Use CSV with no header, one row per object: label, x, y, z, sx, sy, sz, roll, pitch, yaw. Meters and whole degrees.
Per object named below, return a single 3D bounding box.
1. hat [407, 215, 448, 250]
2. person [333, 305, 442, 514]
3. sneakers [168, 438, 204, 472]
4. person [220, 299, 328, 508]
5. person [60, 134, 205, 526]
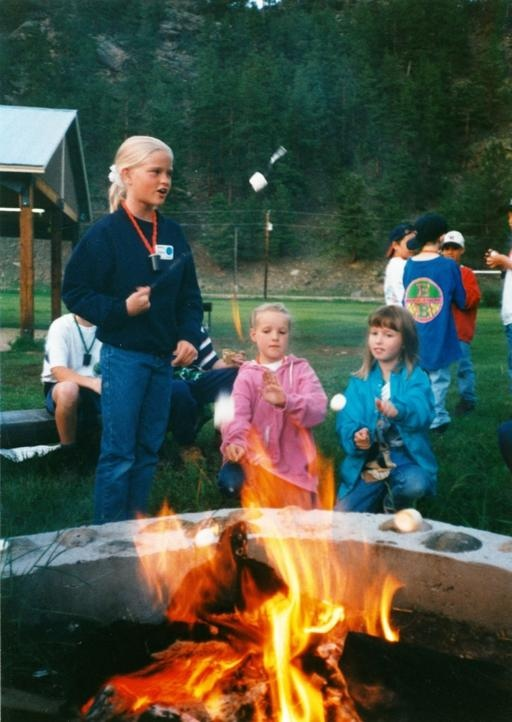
hat,1.027,-0.771,4.621,0.222,0.219,0.217,4,9,22
person,0.557,0.208,3.241,0.423,0.861,0.364,1,9,5
sneakers,-0.387,0.534,4.307,0.144,0.069,0.162,2,24,-4
person,0.074,0.188,3.104,0.441,0.801,0.634,0,9,0
person,-0.482,-0.025,3.071,0.562,1.670,0.477,-2,9,-28
